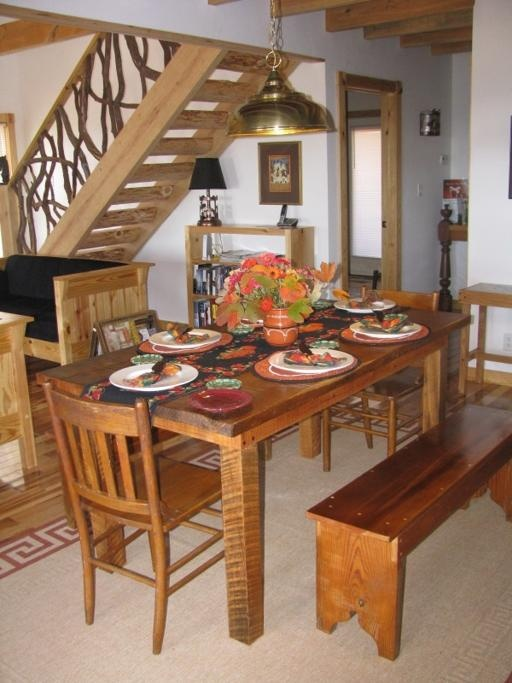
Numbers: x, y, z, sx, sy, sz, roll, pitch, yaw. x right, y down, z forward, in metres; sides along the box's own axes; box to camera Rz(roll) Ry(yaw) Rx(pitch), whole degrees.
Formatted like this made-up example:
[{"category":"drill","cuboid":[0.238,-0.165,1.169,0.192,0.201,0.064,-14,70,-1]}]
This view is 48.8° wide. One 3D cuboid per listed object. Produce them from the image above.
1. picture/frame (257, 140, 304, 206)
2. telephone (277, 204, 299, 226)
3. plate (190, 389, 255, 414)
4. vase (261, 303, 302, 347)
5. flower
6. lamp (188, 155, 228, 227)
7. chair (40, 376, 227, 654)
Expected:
[{"category":"picture/frame","cuboid":[0.220,-1.460,4.818,0.568,0.608,0.051,14,24,41]},{"category":"telephone","cuboid":[0.270,-1.057,4.771,0.210,0.240,0.225,6,14,10]},{"category":"plate","cuboid":[-0.094,0.159,1.503,0.163,0.015,0.199,-8,12,-29]},{"category":"vase","cuboid":[0.087,-0.054,2.084,0.141,0.141,0.140,-4,6,-40]},{"category":"flower","cuboid":[0.073,-0.176,2.148,0.370,0.223,0.329,-7,-2,18]},{"category":"lamp","cuboid":[-0.434,-1.323,5.018,0.301,0.582,0.516,-3,11,-3]},{"category":"chair","cuboid":[-0.342,0.474,1.751,0.482,0.835,0.839,-5,11,-13]}]
